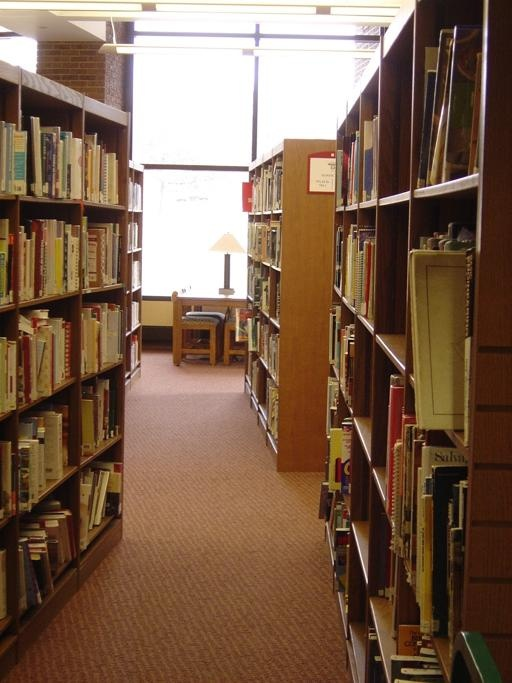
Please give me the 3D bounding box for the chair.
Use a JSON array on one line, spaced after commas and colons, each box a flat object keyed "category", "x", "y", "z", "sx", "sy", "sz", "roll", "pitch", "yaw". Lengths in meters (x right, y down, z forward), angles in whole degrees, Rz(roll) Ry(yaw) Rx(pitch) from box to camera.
[{"category": "chair", "x": -0.806, "y": -0.175, "z": 9.360, "sx": 0.887, "sy": 1.032, "sz": 1.166, "roll": 0, "pitch": 12, "yaw": -5}]
